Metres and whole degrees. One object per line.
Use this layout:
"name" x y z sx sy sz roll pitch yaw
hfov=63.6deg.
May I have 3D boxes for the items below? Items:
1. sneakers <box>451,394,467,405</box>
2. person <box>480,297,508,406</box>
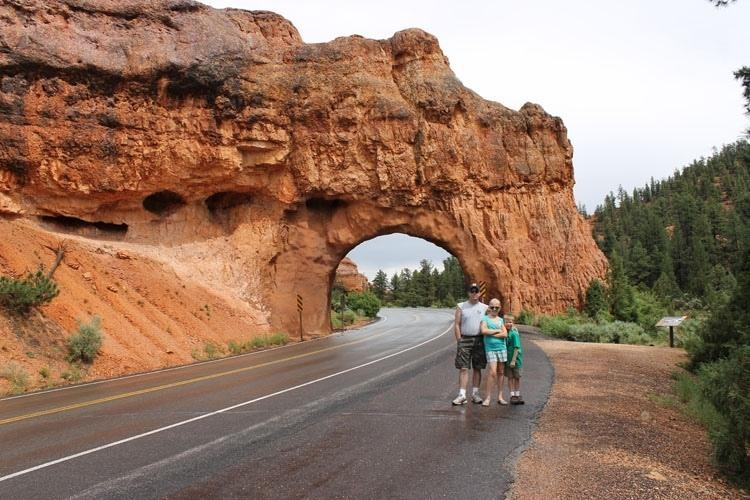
"sneakers" 2.526 4.469 17.960 0.205 0.282 0.551 -13 -22 41
"person" 3.492 3.006 17.799 0.790 3.236 0.546 -4 10 -12
